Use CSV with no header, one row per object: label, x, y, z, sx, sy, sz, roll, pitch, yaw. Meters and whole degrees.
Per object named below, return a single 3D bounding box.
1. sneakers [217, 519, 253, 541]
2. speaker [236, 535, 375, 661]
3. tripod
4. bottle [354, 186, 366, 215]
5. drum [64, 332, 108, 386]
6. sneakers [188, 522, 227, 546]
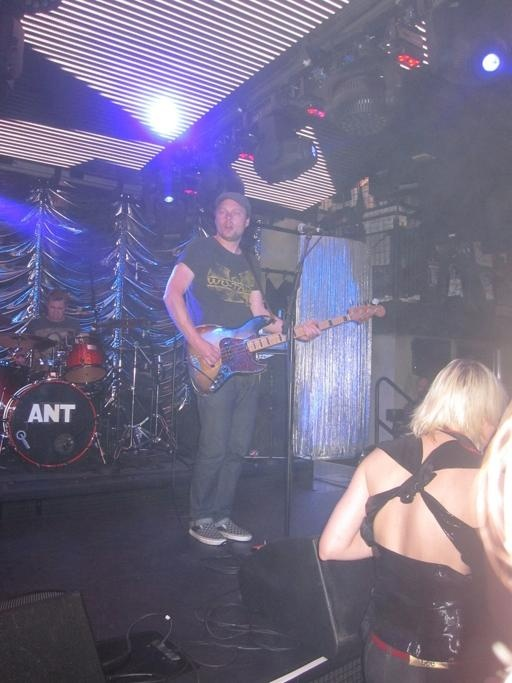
sneakers,-0.106,1.018,3.538,0.220,0.086,0.086,-5,-19,38
speaker,0.215,0.850,2.308,0.307,0.414,0.447,9,-13,-35
tripod,-1.169,0.540,6.270,0.934,1.015,0.966,1,5,31
bottle,1.332,-1.820,8.355,0.101,0.311,0.469,3,0,12
drum,-1.350,0.153,5.232,0.306,0.403,0.488,3,0,-4
sneakers,-0.260,1.027,3.473,0.214,0.084,0.086,-14,-30,42
